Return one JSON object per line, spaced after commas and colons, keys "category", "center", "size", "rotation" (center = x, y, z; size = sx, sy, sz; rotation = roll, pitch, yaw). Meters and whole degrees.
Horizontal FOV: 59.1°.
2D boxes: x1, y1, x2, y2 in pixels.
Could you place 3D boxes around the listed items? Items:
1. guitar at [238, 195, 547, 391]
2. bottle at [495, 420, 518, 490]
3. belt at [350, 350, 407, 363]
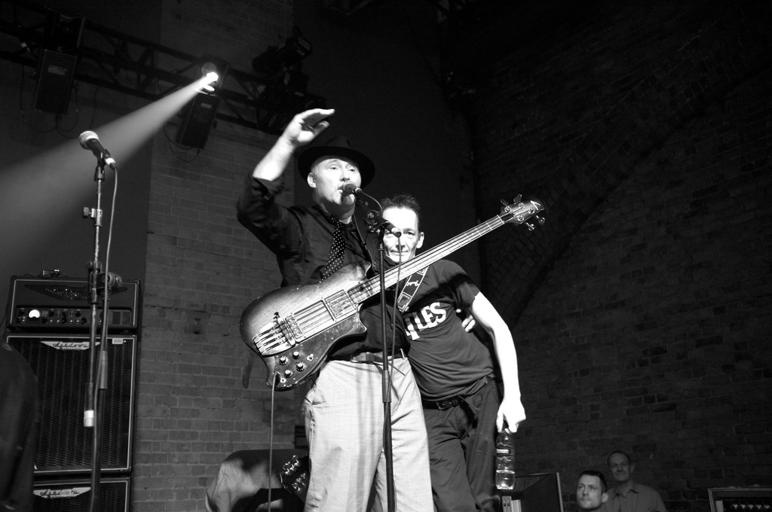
{"category": "guitar", "center": [-0.006, 0.129, 4.275], "size": [2.228, 0.699, 0.235], "rotation": [-29, 4, -20]}
{"category": "bottle", "center": [0.721, 1.236, 4.160], "size": [0.106, 0.372, 0.245], "rotation": [0, -20, 8]}
{"category": "belt", "center": [-0.048, 0.575, 3.867], "size": [0.161, 0.052, 0.119], "rotation": [9, -21, -40]}
